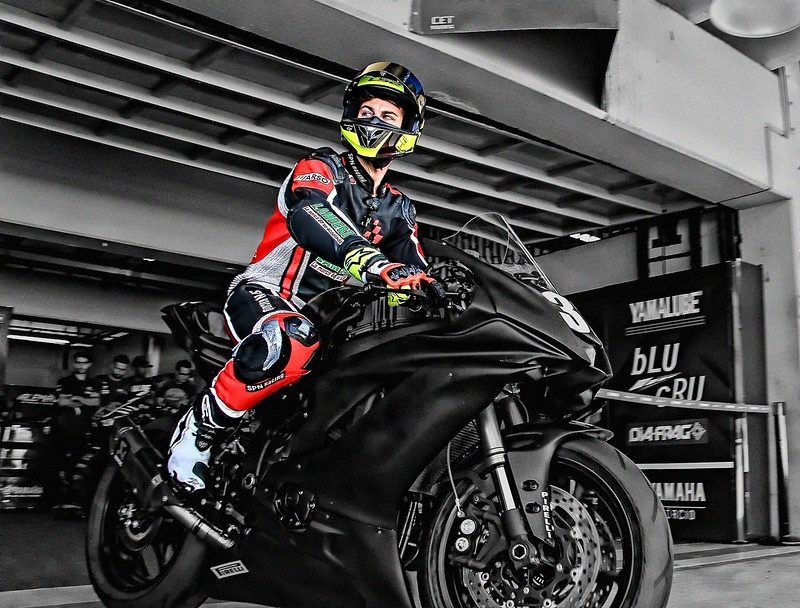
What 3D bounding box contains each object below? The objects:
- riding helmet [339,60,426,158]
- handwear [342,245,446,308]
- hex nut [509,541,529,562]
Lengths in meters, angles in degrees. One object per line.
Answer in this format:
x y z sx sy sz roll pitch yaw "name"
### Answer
-0.068 -0.796 2.711 0.366 0.321 0.417 14 18 11 "riding helmet"
-0.026 -0.095 2.142 0.291 0.080 0.187 15 -13 39 "handwear"
0.367 0.745 1.998 0.070 0.043 0.024 -2 5 35 "hex nut"
